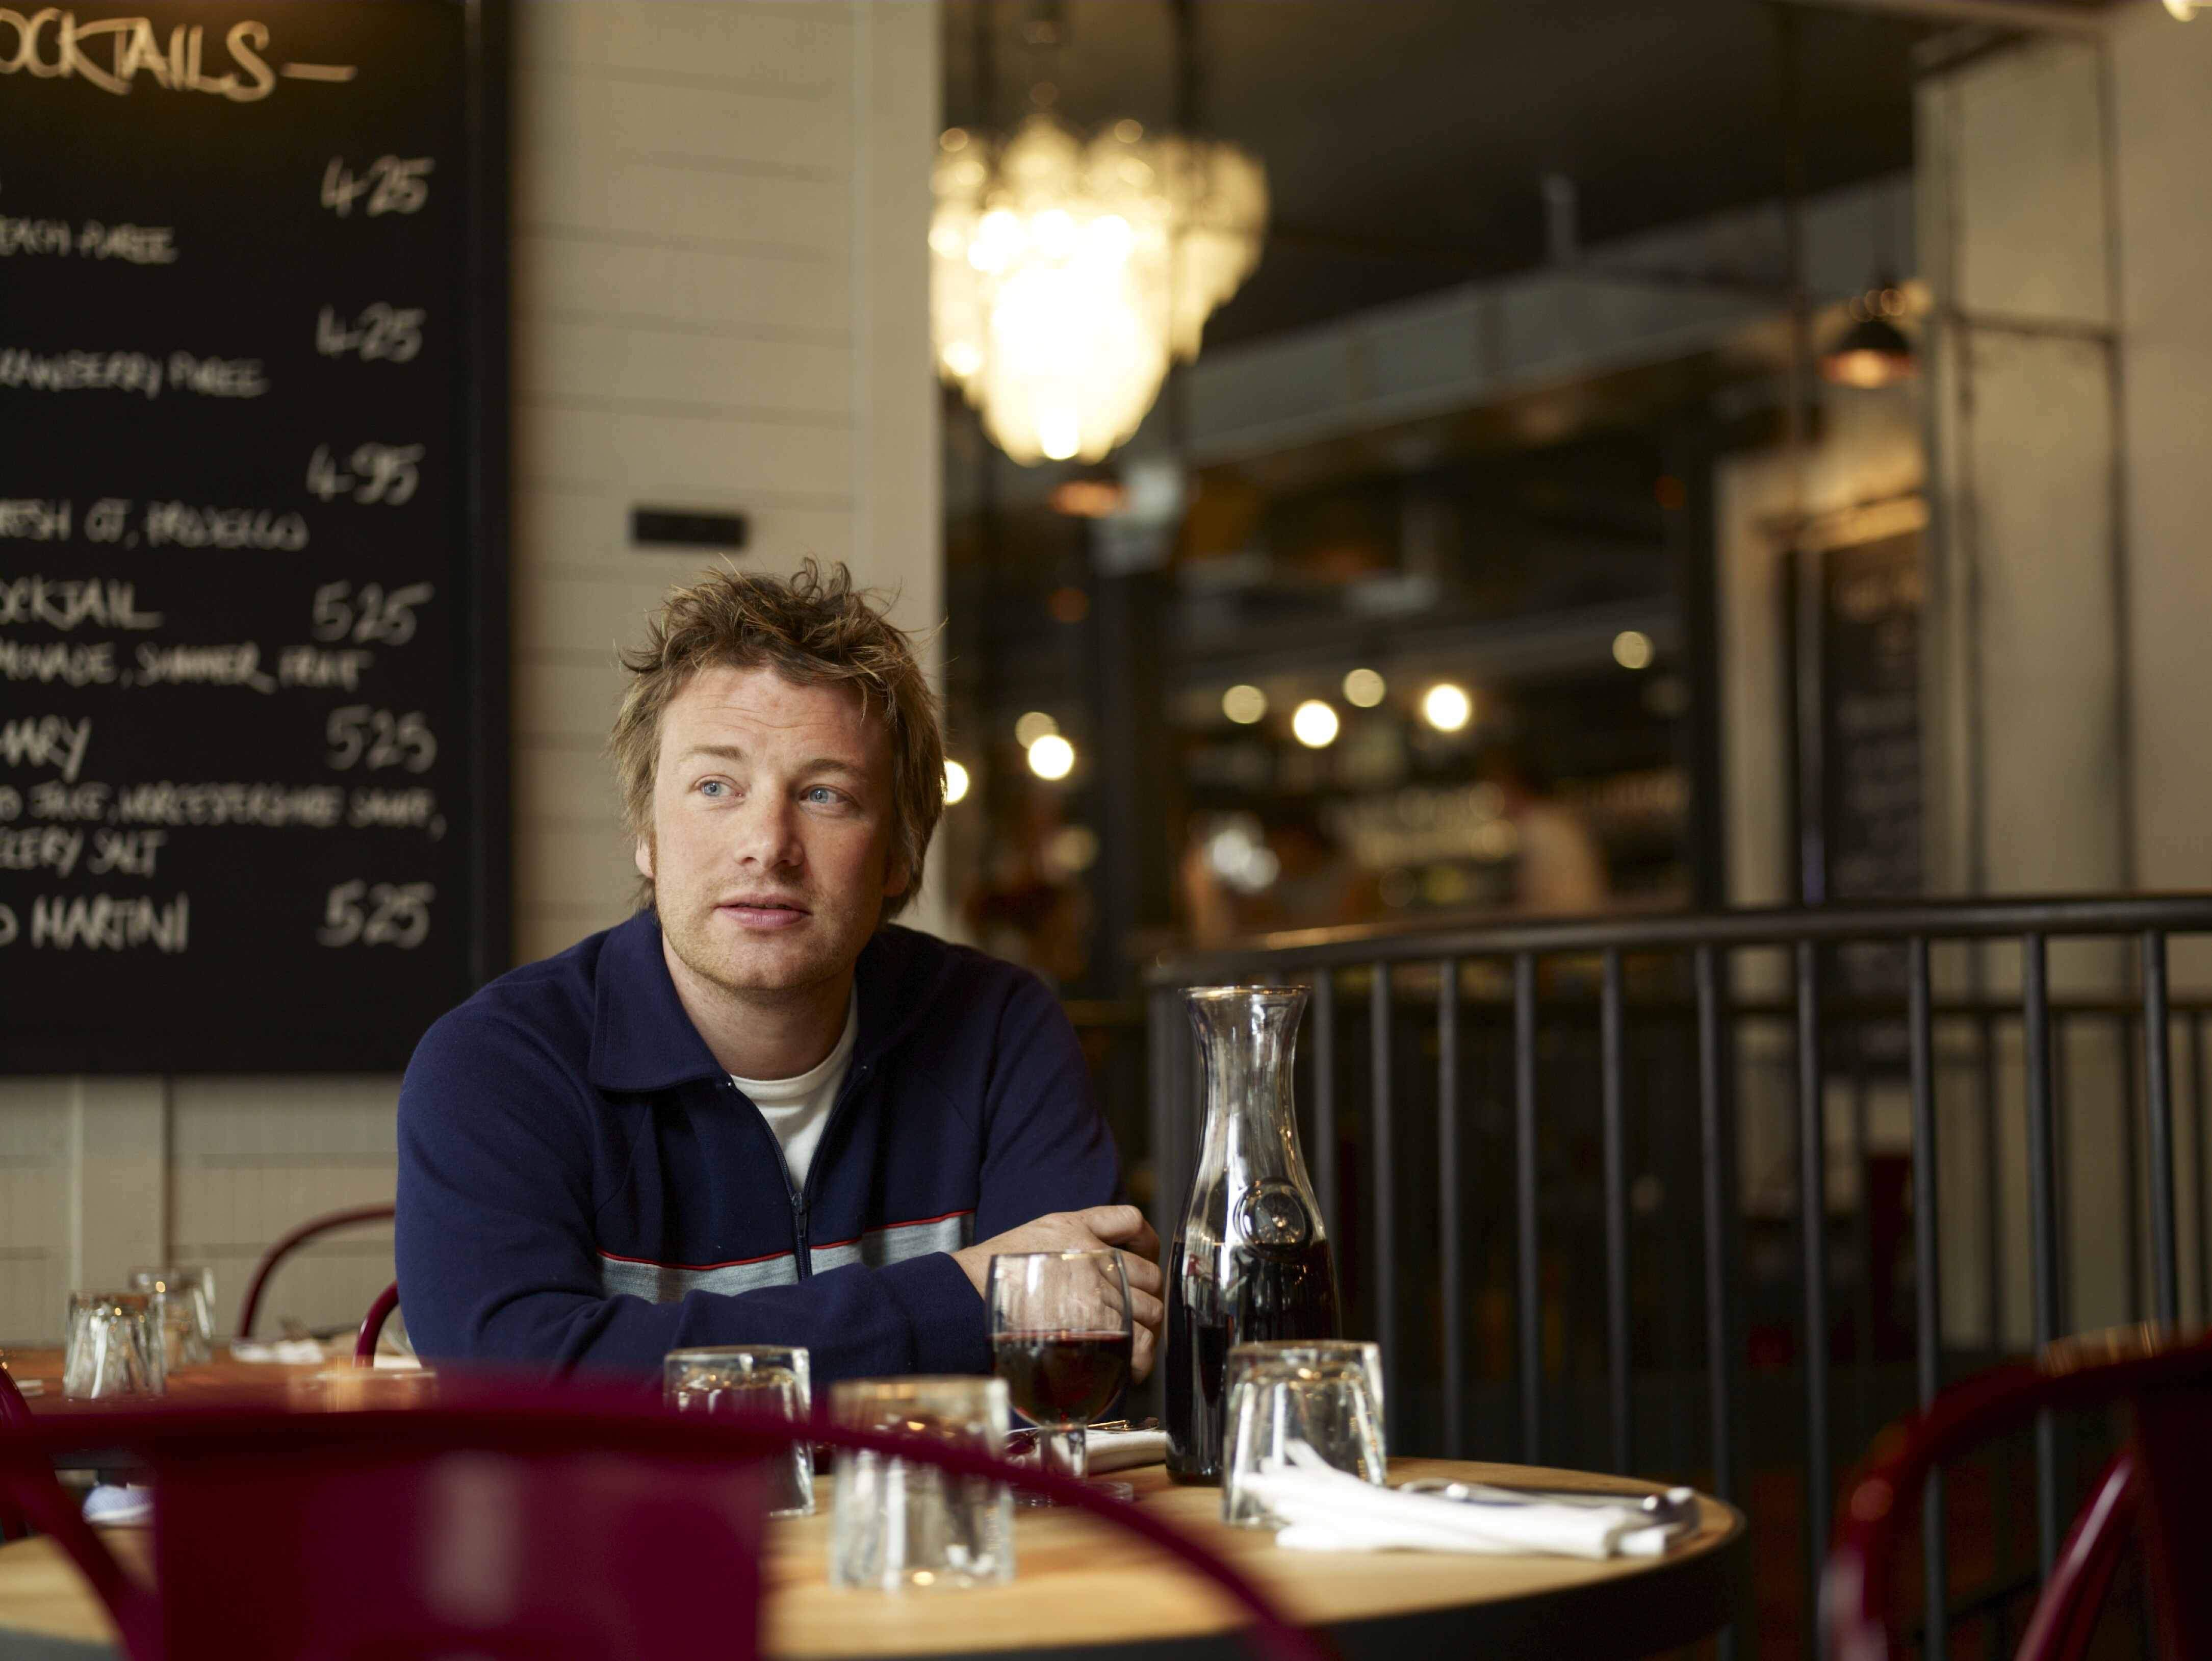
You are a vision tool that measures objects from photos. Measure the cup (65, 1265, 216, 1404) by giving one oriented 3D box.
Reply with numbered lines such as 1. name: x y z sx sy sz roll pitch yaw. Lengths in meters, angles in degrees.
1. cup: -1.205 0.633 3.238 0.146 0.187 0.255 1 -17 2

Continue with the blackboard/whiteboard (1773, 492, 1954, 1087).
1. blackboard/whiteboard: 1.428 -0.107 4.881 0.297 1.138 0.783 -4 -5 18

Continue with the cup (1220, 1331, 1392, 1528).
1. cup: 0.175 0.526 2.285 0.139 0.152 0.148 -1 -9 0

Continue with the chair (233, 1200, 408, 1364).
1. chair: -1.244 0.683 4.046 0.230 0.192 0.304 -2 -6 -15

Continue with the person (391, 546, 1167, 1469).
1. person: -0.361 0.129 2.803 0.807 0.901 0.549 -1 -5 -17

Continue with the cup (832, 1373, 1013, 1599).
1. cup: -0.158 0.535 2.134 0.151 0.186 0.160 0 -10 0
